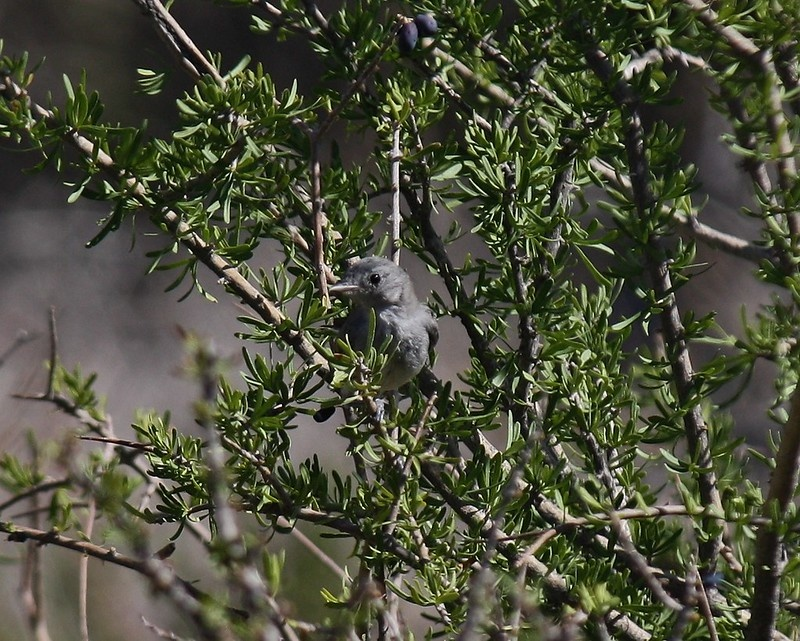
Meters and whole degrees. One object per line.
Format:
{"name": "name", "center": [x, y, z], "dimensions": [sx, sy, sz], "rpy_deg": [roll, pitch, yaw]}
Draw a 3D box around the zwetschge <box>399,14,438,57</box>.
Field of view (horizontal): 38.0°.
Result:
{"name": "zwetschge", "center": [0.038, -0.753, 3.036], "dimensions": [0.070, 0.121, 0.056], "rpy_deg": [50, -24, -4]}
